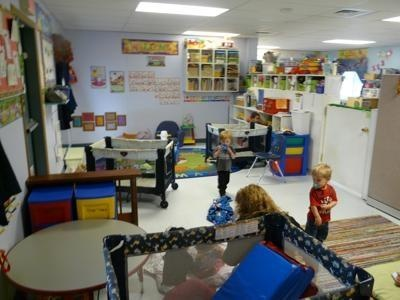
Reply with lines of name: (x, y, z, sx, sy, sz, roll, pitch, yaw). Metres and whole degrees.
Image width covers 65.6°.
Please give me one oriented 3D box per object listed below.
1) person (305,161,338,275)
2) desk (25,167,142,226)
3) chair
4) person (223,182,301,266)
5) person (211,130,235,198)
person: (1.323, 0.617, 3.369, 0.293, 0.957, 0.313, 3, 13, 15)
desk: (-1.162, 0.566, 3.399, 0.956, 0.584, 0.285, 1, -8, -19)
chair: (1.281, 0.145, 5.958, 0.715, 0.807, 0.717, 7, 11, 23)
person: (0.629, 0.744, 2.934, 0.571, 0.841, 0.835, -22, -18, 11)
person: (0.395, 0.229, 5.204, 0.350, 1.106, 0.399, 0, 12, 3)
